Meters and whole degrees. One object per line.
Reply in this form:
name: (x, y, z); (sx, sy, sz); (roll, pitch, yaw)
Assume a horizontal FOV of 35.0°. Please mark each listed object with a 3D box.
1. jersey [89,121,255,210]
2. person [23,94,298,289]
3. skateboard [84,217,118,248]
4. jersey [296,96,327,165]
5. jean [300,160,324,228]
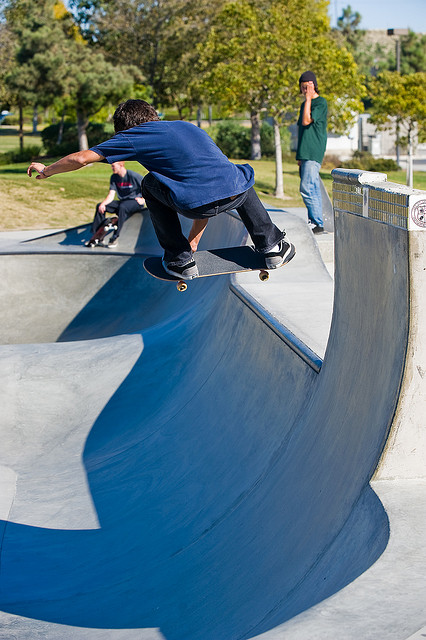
jersey: (-0.231, -0.866, 3.777); (0.854, 0.474, 0.242); (-1, 11, -9)
person: (-0.342, -0.813, 4.342); (1.644, 1.105, 1.229); (-7, 16, -9)
skateboard: (-1.631, -1.273, 9.893); (0.659, 0.200, 0.280); (-43, 17, -3)
jersey: (1.063, -2.092, 7.434); (0.312, 0.703, 0.351); (2, 11, 5)
jean: (1.087, -1.413, 7.616); (0.263, 0.739, 0.503); (3, 11, 11)
